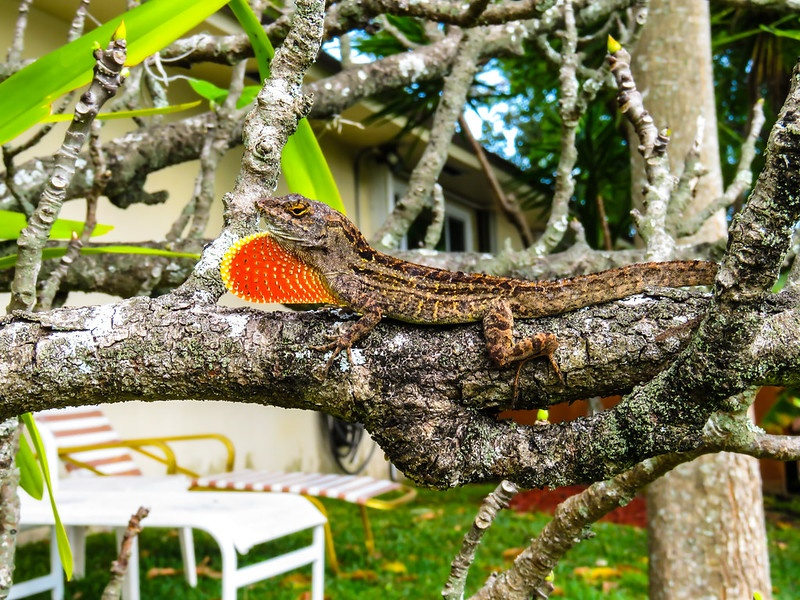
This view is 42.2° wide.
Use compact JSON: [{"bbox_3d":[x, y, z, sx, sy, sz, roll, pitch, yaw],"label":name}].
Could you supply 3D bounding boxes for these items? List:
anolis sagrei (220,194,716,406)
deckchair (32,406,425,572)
[{"bbox_3d":[0.186,-0.130,4.880,1.953,0.503,0.613,6,44,7],"label":"anolis sagrei"},{"bbox_3d":[-1.696,1.352,7.887,2.273,0.845,0.894,4,88,22],"label":"deckchair"}]
